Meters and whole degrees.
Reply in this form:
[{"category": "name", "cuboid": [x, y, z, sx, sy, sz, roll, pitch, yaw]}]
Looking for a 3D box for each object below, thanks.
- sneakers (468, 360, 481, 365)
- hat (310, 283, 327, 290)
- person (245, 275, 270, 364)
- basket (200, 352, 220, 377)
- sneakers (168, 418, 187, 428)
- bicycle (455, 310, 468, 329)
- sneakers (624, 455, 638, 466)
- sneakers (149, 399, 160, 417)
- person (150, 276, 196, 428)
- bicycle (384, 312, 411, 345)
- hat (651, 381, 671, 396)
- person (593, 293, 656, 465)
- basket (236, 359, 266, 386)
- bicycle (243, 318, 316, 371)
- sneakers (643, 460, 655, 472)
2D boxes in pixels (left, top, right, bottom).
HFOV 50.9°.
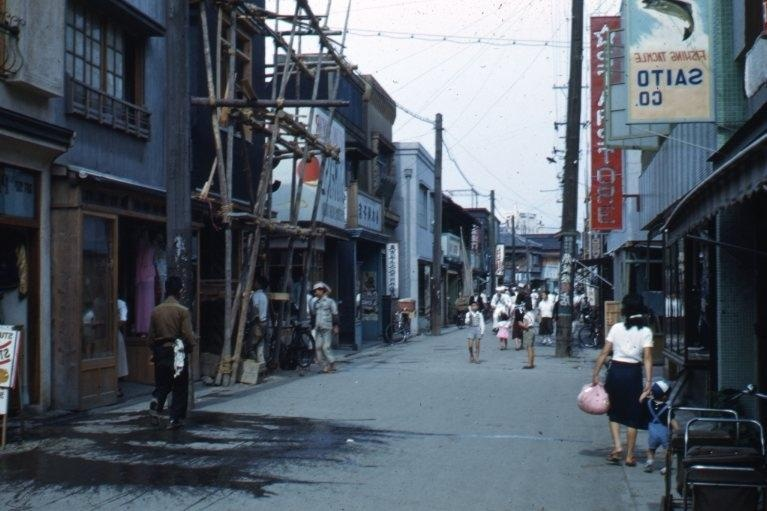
[{"category": "sneakers", "cuboid": [2.627, 3.026, 22.864, 0.105, 0.149, 0.335, 0, -9, -39]}, {"category": "hat", "cuboid": [-1.615, 0.776, 20.621, 0.278, 0.128, 0.307, -1, -1, 1]}, {"category": "person", "cuboid": [-3.037, 1.535, 19.392, 0.498, 1.963, 0.580, -2, -6, -1]}, {"category": "basket", "cuboid": [-4.006, 2.509, 18.490, 0.421, 0.609, 0.564, 2, 5, 7]}, {"category": "sneakers", "cuboid": [-3.461, 2.798, 13.436, 0.257, 0.149, 0.312, 0, -7, -19]}, {"category": "bicycle", "cuboid": [4.195, 3.388, 43.024, 0.848, 1.084, 1.799, 0, -6, 12]}, {"category": "sneakers", "cuboid": [3.582, 2.973, 11.677, 0.167, 0.145, 0.240, -4, -7, 17]}, {"category": "sneakers", "cuboid": [-3.873, 2.552, 13.552, 0.125, 0.264, 0.374, 2, 0, -11]}, {"category": "person", "cuboid": [-3.591, 1.596, 13.649, 0.654, 2.572, 0.642, -7, -8, 42]}, {"category": "bicycle", "cuboid": [0.552, 2.848, 30.942, 0.610, 0.778, 1.301, 5, 19, 28]}, {"category": "hat", "cuboid": [3.934, 1.861, 11.434, 0.170, 0.238, 0.237, 33, 29, 17]}, {"category": "person", "cuboid": [3.607, 1.827, 11.984, 0.803, 2.491, 0.952, -4, -6, 18]}, {"category": "basket", "cuboid": [-2.990, 2.616, 18.315, 0.554, 0.574, 0.481, 4, 2, 23]}, {"category": "bicycle", "cuboid": [-2.822, 2.244, 20.082, 0.891, 1.109, 1.776, -4, -6, 35]}, {"category": "sneakers", "cuboid": [3.765, 2.989, 11.430, 0.116, 0.113, 0.260, -1, -13, 0]}]
